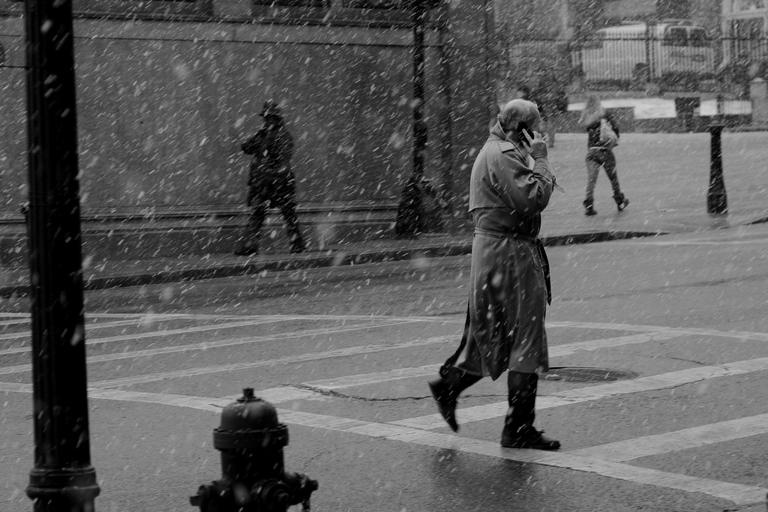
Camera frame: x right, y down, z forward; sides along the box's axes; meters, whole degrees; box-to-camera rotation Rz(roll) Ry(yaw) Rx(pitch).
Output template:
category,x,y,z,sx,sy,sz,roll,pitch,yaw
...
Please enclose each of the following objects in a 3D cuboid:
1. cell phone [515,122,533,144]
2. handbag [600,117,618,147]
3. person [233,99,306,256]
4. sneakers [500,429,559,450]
category,x,y,z,sx,sy,sz,roll,pitch,yaw
cell phone,1.262,-1.139,13.837,0.205,0.061,0.144,27,4,-11
handbag,4.321,-2.398,29.576,0.189,0.480,0.407,4,15,45
person,-2.031,-1.324,25.794,0.970,2.639,0.367,-4,11,-4
sneakers,1.300,1.668,13.804,0.534,0.187,0.197,-1,1,2
